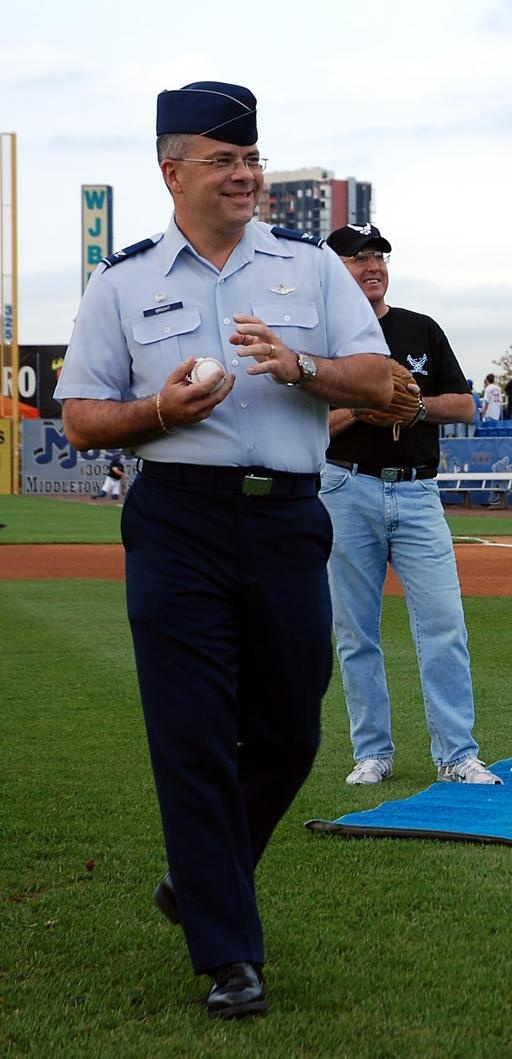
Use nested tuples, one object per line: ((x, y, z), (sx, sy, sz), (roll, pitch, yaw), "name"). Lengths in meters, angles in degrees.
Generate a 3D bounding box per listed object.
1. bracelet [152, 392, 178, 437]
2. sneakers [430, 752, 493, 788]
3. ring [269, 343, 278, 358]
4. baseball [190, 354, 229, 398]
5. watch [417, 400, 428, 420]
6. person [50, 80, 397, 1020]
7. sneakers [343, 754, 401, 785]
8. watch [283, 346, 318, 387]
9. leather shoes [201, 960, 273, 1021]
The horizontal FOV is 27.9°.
((-0.197, -0.245, 2.241), (0.056, 0.075, 0.029), (-1, 20, 17), "bracelet")
((0.776, 0.919, 3.878), (0.228, 0.099, 0.087), (-6, -8, 40), "sneakers")
((0.039, -0.381, 2.205), (0.009, 0.025, 0.019), (3, 5, 8), "ring")
((-0.105, -0.329, 2.189), (0.076, 0.070, 0.058), (0, 1, -3), "baseball")
((0.643, -0.462, 3.996), (0.046, 0.078, 0.056), (4, 1, 0), "watch")
((-0.118, -0.038, 2.411), (0.656, 2.037, 0.631), (1, 1, 33), "person")
((0.445, 0.953, 4.022), (0.073, 0.080, 0.202), (-2, -8, 32), "sneakers")
((0.107, -0.354, 2.240), (0.076, 0.083, 0.051), (-25, -17, 40), "watch")
((-0.037, 0.920, 2.051), (0.122, 0.089, 0.083), (0, 1, -17), "leather shoes")
